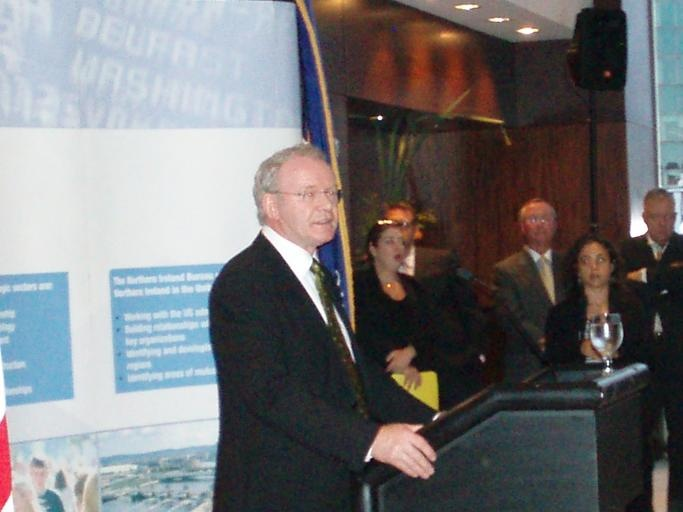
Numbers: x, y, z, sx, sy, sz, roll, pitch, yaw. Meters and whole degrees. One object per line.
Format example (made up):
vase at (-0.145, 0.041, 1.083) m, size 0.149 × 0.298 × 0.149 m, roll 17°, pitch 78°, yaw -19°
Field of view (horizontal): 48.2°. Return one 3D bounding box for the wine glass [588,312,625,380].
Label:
wine glass at (0.920, 0.314, 2.640) m, size 0.113 × 0.243 × 0.109 m, roll -8°, pitch 13°, yaw -2°

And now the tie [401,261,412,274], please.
tie at (0.350, 0.076, 4.113) m, size 0.074 × 0.068 × 0.028 m, roll 11°, pitch 18°, yaw -18°

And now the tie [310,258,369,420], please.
tie at (-0.058, 0.167, 2.481) m, size 0.087 × 0.118 × 0.838 m, roll -34°, pitch 36°, yaw 14°

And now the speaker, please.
speaker at (1.241, -0.986, 3.715) m, size 0.286 × 0.376 × 0.162 m, roll -6°, pitch 1°, yaw 9°
